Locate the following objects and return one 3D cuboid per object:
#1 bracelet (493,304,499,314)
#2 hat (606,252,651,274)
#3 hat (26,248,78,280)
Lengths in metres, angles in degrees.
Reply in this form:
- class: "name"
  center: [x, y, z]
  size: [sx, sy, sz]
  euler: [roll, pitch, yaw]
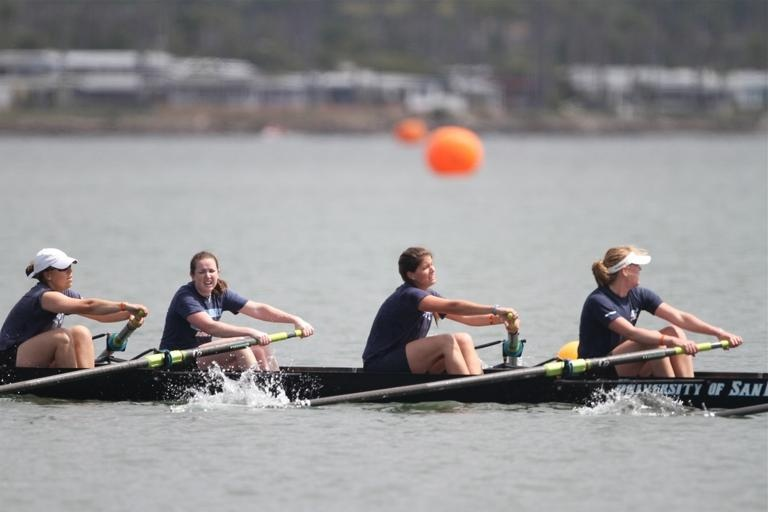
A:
- class: "bracelet"
  center: [1.549, 0.721, 20.304]
  size: [0.080, 0.098, 0.113]
  euler: [4, -38, 12]
- class: "hat"
  center: [3.364, 0.073, 20.313]
  size: [0.504, 0.143, 0.288]
  euler: [-20, 2, 7]
- class: "hat"
  center: [-4.691, 0.069, 20.601]
  size: [0.652, 0.317, 0.427]
  euler: [-13, 7, 8]
